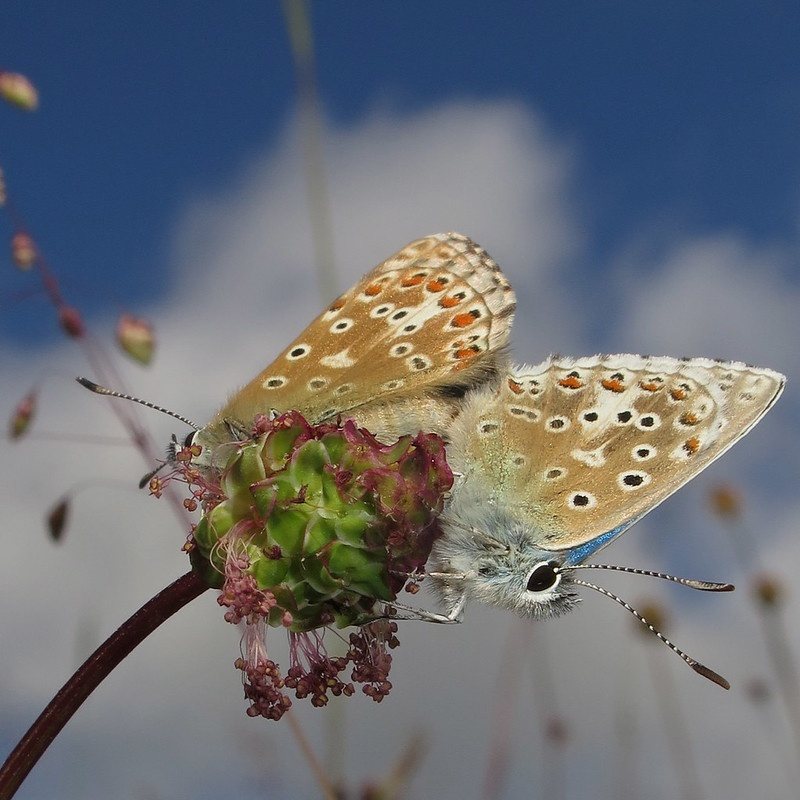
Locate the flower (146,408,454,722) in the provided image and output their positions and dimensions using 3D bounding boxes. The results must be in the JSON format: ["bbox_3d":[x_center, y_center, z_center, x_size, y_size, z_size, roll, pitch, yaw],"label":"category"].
[{"bbox_3d":[-0.177,0.210,2.193,0.400,0.342,0.388,14,13,40],"label":"flower"}]
